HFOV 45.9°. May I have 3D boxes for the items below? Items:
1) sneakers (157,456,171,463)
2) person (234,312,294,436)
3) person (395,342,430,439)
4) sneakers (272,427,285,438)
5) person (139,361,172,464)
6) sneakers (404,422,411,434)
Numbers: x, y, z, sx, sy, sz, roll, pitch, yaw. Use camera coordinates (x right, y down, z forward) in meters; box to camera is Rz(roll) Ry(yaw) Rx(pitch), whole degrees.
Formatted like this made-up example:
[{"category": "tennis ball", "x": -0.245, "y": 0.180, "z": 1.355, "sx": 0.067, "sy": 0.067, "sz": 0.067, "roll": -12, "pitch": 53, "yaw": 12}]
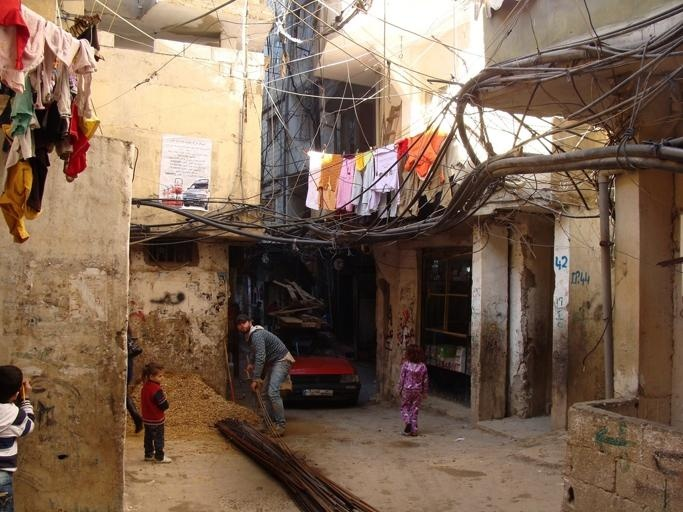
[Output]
[{"category": "sneakers", "x": -2.379, "y": 2.753, "z": 10.854, "sx": 0.143, "sy": 0.067, "sz": 0.081, "roll": -2, "pitch": 5, "yaw": -31}, {"category": "person", "x": -1.355, "y": 2.126, "z": 14.274, "sx": 1.131, "sy": 2.384, "sz": 0.853, "roll": 2, "pitch": -28, "yaw": -19}, {"category": "person", "x": 1.176, "y": 2.204, "z": 13.204, "sx": 0.437, "sy": 1.503, "sz": 0.464, "roll": 3, "pitch": 4, "yaw": 6}, {"category": "sneakers", "x": -0.955, "y": 2.731, "z": 12.534, "sx": 0.192, "sy": 0.159, "sz": 0.202, "roll": 0, "pitch": 1, "yaw": 32}, {"category": "person", "x": -2.481, "y": 2.108, "z": 10.767, "sx": 0.383, "sy": 1.335, "sz": 0.543, "roll": 2, "pitch": 4, "yaw": -13}, {"category": "sneakers", "x": 1.105, "y": 2.856, "z": 13.316, "sx": 0.094, "sy": 0.107, "sz": 0.165, "roll": 2, "pitch": -13, "yaw": -4}]
